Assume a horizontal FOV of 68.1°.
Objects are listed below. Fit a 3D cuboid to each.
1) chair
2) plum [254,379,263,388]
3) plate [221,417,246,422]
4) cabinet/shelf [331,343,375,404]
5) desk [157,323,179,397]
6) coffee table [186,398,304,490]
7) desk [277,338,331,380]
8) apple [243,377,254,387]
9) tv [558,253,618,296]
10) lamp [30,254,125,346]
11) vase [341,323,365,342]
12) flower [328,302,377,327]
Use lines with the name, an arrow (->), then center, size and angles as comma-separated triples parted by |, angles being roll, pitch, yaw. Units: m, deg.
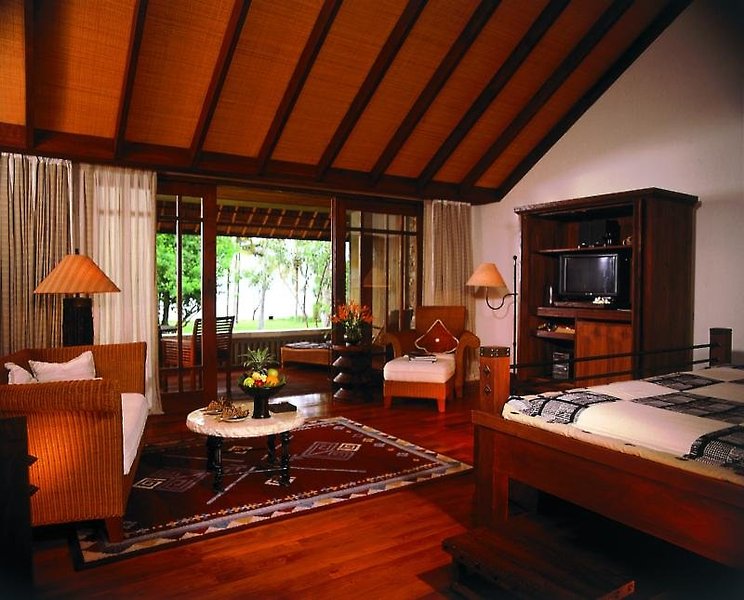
chair -> -1.842, 0.563, 5.885 | 0.601, 0.823, 0.632 | 2, 1, 21
plum -> -0.731, 0.531, 3.548 | 0.046, 0.059, 0.033 | -11, -2, -9
plate -> -0.884, 0.757, 3.517 | 0.136, 0.028, 0.086 | -1, 5, -14
cabinet/shelf -> -0.191, 0.773, 6.090 | 0.481, 0.591, 0.508 | 1, 4, 12
desk -> -2.046, 0.598, 5.555 | 0.176, 0.603, 0.328 | -2, 5, -20
coffee table -> -0.815, 1.013, 3.734 | 0.783, 0.441, 0.797 | -8, -7, 41
desk -> -0.968, 0.800, 7.923 | 0.759, 0.432, 0.756 | 0, 5, 2
apple -> -0.793, 0.529, 3.547 | 0.064, 0.057, 0.035 | -1, 5, -14
tv -> 2.204, -0.257, 5.526 | 0.595, 0.442, 0.316 | 1, 1, 43
lamp -> -2.335, 0.069, 4.373 | 0.645, 0.847, 0.677 | -2, -3, 22
vase -> -0.196, 0.350, 6.050 | 0.203, 0.210, 0.210 | 0, -4, -15
flower -> -0.214, 0.161, 6.110 | 0.311, 0.221, 0.308 | 1, -6, -6
